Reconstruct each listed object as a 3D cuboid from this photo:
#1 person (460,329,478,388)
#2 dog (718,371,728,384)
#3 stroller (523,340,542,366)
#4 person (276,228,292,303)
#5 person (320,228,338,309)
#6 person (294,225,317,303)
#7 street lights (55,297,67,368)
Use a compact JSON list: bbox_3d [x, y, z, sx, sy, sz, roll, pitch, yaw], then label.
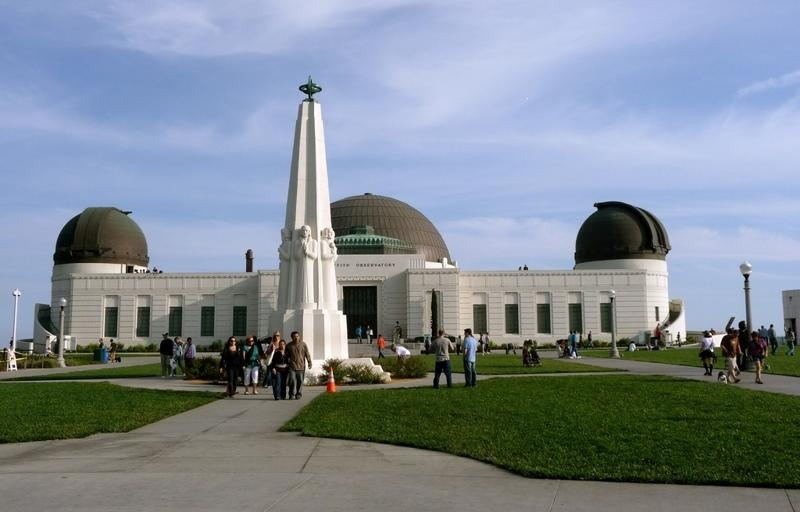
[{"bbox_3d":[2.361,3.705,29.102,0.367,1.688,0.737,0,0,12],"label":"person"},{"bbox_3d":[11.403,4.344,29.649,0.310,0.401,0.417,-2,-12,3],"label":"dog"},{"bbox_3d":[6.054,4.611,39.362,0.680,1.153,1.260,0,0,5],"label":"stroller"},{"bbox_3d":[-4.762,0.526,33.876,0.567,2.374,0.862,0,0,-8],"label":"person"},{"bbox_3d":[-2.947,0.522,34.346,0.620,2.311,1.494,0,0,8],"label":"person"},{"bbox_3d":[-3.814,0.482,33.502,0.905,2.341,0.643,0,0,-8],"label":"person"},{"bbox_3d":[-20.362,4.566,49.860,0.984,4.187,0.939,3,-5,-21],"label":"street lights"}]
